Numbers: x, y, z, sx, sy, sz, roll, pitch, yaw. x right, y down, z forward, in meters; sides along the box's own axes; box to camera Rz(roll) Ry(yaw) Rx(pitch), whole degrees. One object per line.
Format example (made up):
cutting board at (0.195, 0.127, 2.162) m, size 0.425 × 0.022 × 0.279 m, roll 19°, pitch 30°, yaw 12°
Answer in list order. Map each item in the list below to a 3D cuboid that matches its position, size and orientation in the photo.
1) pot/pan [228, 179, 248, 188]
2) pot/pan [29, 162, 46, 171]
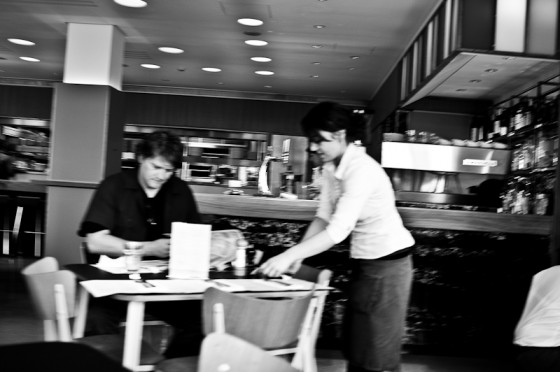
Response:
pot/pan at (-0.738, -0.028, 8.912) m, size 0.337 × 0.144 × 0.376 m, roll 3°, pitch -3°, yaw 5°
pot/pan at (-4.490, -0.343, 9.558) m, size 0.299 × 0.126 × 0.076 m, roll 3°, pitch -3°, yaw 4°
